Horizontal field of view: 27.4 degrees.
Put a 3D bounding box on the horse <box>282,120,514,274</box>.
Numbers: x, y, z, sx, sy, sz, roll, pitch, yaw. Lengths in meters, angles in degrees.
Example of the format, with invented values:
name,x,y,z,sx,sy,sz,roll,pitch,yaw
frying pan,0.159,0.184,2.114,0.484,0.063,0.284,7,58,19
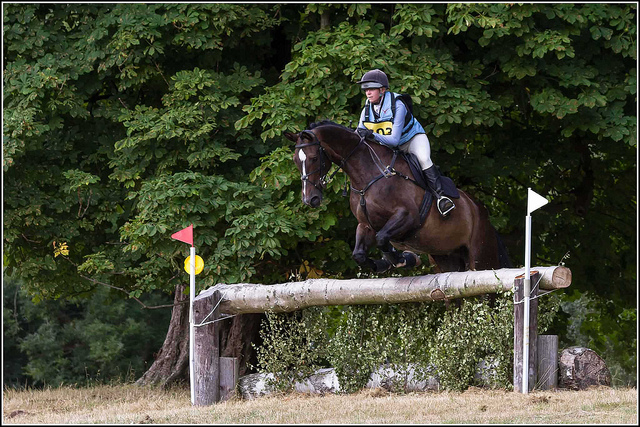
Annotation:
name,x,y,z,sx,sy,sz,roll,pitch,yaw
horse,1.905,0.423,25.711,5.933,1.523,3.154,21,61,-27

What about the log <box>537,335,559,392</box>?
name,x,y,z,sx,sy,sz,roll,pitch,yaw
log,4.310,2.829,24.842,0.341,1.305,0.304,2,32,17
